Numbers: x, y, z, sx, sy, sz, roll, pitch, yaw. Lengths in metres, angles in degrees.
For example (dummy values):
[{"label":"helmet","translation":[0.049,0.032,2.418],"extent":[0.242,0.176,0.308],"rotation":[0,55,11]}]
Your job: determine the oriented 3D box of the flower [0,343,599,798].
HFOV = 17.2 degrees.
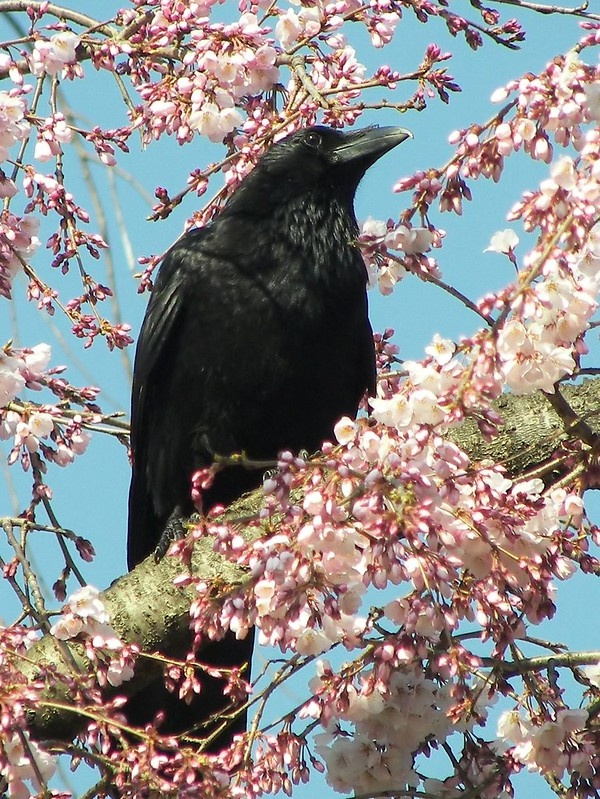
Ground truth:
[{"label":"flower","translation":[0.020,0.373,4.009],"extent":[0.432,0.956,0.294],"rotation":[21,-3,25]}]
